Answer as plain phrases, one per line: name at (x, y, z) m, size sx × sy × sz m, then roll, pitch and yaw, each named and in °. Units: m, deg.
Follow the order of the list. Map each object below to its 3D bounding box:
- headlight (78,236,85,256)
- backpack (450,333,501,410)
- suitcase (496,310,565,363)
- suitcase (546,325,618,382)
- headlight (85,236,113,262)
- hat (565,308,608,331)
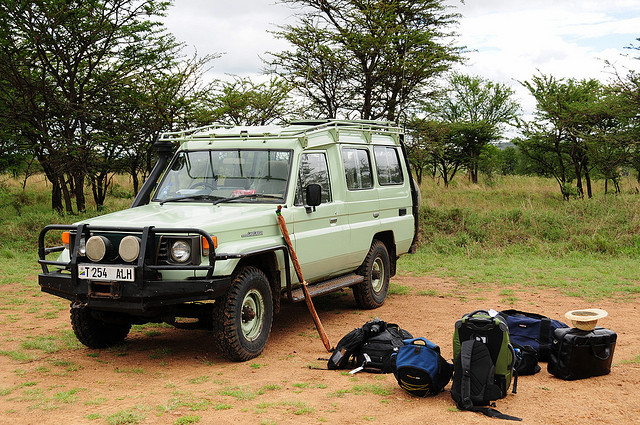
headlight at (-3.657, 0.505, 8.586) m, size 0.088 × 0.294 × 0.073 m, roll -2°, pitch 9°, yaw -11°
backpack at (2.155, 2.184, 7.682) m, size 0.833 × 1.070 × 0.473 m, roll -9°, pitch -26°, yaw 22°
suitcase at (3.189, 1.843, 8.966) m, size 1.405 × 0.517 × 0.575 m, roll 2°, pitch 8°, yaw 15°
suitcase at (4.008, 2.106, 8.586) m, size 1.108 × 0.657 × 0.646 m, roll 1°, pitch 5°, yaw -31°
headlight at (-3.360, 0.535, 8.532) m, size 0.440 × 0.394 × 0.224 m, roll 5°, pitch 5°, yaw 24°
hat at (3.899, 1.556, 8.334) m, size 0.397 × 0.143 × 0.416 m, roll -6°, pitch 0°, yaw -33°
